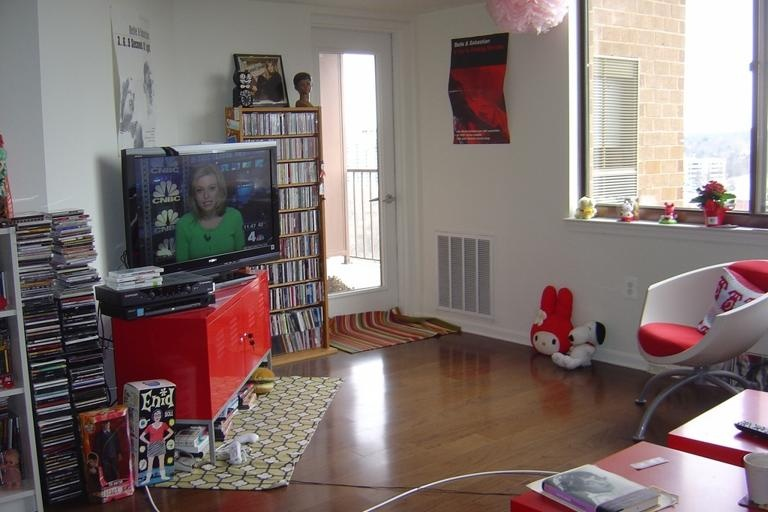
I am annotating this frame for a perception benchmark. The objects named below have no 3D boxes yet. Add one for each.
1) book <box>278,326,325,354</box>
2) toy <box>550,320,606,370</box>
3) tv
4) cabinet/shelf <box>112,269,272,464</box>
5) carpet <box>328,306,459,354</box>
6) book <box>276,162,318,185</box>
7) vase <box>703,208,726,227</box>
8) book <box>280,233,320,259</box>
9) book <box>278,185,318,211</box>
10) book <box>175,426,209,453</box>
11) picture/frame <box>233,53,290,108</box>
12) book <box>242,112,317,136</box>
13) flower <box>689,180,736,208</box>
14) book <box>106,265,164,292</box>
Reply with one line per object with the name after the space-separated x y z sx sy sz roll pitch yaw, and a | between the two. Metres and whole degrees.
-0.766 0.786 5.009 0.299 0.095 0.234 -11 10 -19 | book
1.631 0.741 4.621 0.380 0.353 0.462 2 7 15 | toy
-1.294 -0.285 3.816 0.280 0.749 1.078 6 12 37 | tv
-1.212 0.699 3.385 0.396 0.593 1.111 0 11 8 | cabinet/shelf
0.016 0.715 5.557 1.246 0.164 0.731 -8 14 -28 | carpet
-0.774 -0.719 4.818 0.257 0.231 0.061 -2 8 -28 | book
2.462 -0.286 4.110 0.141 0.104 0.139 3 8 32 | vase
-0.797 -0.081 4.945 0.344 0.189 0.323 -7 3 -44 | book
-0.748 -0.506 4.867 0.360 0.197 0.040 -8 13 -27 | book
-1.171 1.124 3.410 0.178 0.170 0.053 9 -14 -2 | book
-1.085 -1.518 4.804 0.052 0.533 0.505 -7 6 43 | picture/frame
-0.881 -1.126 4.729 0.659 0.195 0.097 -10 14 -36 | book
2.449 -0.446 4.073 0.230 0.140 0.230 10 18 29 | flower
-1.497 0.140 3.306 0.316 0.099 0.185 -7 13 -24 | book
